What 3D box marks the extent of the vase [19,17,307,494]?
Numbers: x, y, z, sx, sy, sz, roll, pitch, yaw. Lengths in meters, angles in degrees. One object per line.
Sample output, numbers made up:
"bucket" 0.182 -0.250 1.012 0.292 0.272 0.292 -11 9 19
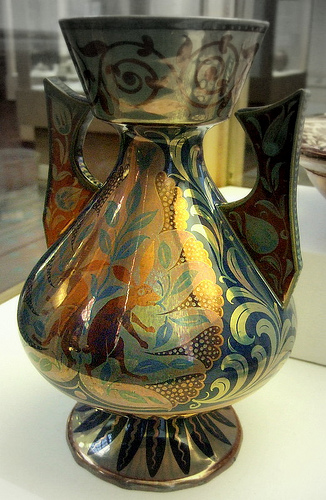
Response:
"vase" -0.016 -0.012 0.305 0.229 0.270 0.138 5 12 13
